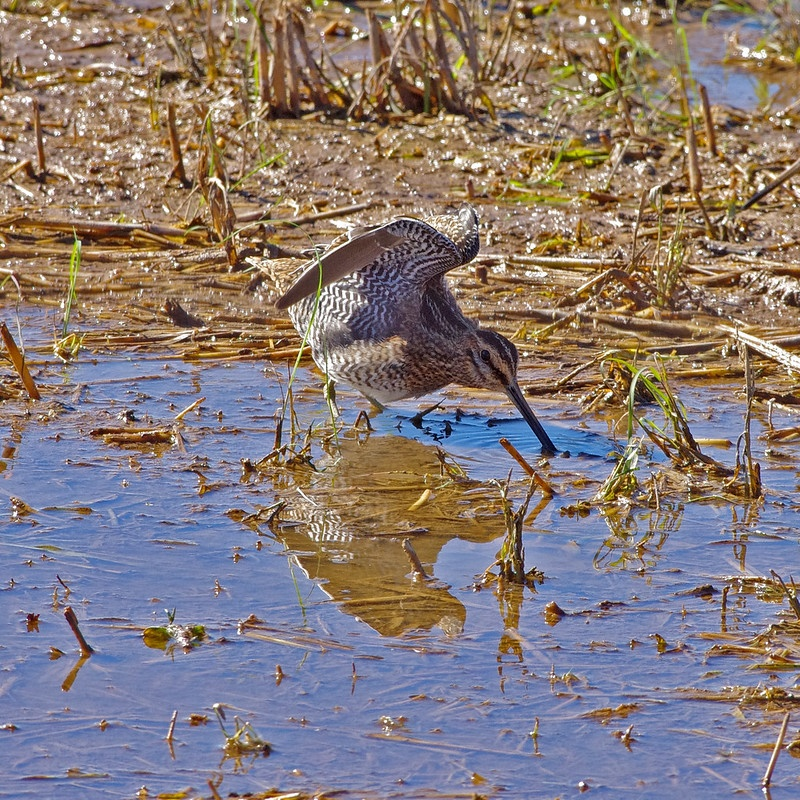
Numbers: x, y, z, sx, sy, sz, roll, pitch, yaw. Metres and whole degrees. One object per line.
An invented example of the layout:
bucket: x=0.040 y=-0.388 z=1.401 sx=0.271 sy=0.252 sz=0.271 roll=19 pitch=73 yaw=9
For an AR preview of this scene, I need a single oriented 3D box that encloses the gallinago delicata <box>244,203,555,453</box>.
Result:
gallinago delicata: x=-0.016 y=-0.410 z=5.876 sx=0.839 sy=1.417 sz=1.315 roll=-50 pitch=-8 yaw=20
